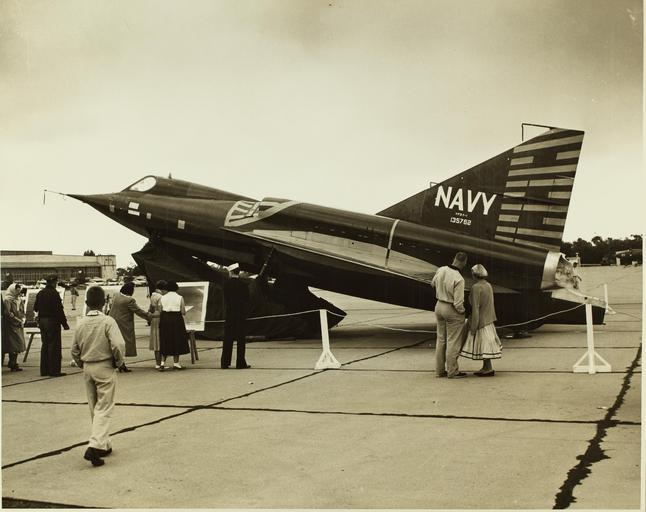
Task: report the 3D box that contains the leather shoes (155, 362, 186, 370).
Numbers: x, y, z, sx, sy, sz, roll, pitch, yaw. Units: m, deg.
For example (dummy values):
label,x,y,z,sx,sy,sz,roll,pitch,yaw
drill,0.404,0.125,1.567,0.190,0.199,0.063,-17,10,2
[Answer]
label,x,y,z,sx,sy,sz,roll,pitch,yaw
leather shoes,-2.758,1.983,12.151,0.532,0.221,0.183,-4,-6,0

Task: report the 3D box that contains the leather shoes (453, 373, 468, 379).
label,x,y,z,sx,sy,sz,roll,pitch,yaw
leather shoes,2.151,1.858,10.633,0.254,0.112,0.087,-3,6,-12

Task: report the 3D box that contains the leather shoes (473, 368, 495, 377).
label,x,y,z,sx,sy,sz,roll,pitch,yaw
leather shoes,2.535,1.797,10.626,0.338,0.151,0.117,5,0,31

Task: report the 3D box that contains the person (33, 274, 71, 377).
label,x,y,z,sx,sy,sz,roll,pitch,yaw
person,-4.926,1.269,12.206,0.540,1.819,0.822,-5,6,-23

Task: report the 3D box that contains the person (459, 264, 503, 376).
label,x,y,z,sx,sy,sz,roll,pitch,yaw
person,2.481,1.011,10.651,0.596,1.713,0.502,-1,6,13

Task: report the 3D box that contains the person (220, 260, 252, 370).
label,x,y,z,sx,sy,sz,roll,pitch,yaw
person,-1.603,1.096,12.014,0.549,1.799,0.536,-3,6,-9

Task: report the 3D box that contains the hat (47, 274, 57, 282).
label,x,y,z,sx,sy,sz,roll,pitch,yaw
hat,-4.963,0.383,12.325,0.110,0.144,0.147,4,38,-8

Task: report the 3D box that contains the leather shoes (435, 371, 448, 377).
label,x,y,z,sx,sy,sz,roll,pitch,yaw
leather shoes,1.874,1.846,10.613,0.208,0.077,0.156,-5,7,-27

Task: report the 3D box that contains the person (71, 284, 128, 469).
label,x,y,z,sx,sy,sz,roll,pitch,yaw
person,-2.575,1.313,7.733,0.565,1.899,0.830,-4,6,-22

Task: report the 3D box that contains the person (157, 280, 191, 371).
label,x,y,z,sx,sy,sz,roll,pitch,yaw
person,-2.732,1.235,12.198,0.514,1.523,0.495,-3,6,-12

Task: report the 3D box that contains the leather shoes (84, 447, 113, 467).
label,x,y,z,sx,sy,sz,roll,pitch,yaw
leather shoes,-2.499,2.210,7.481,0.126,0.159,0.366,2,-4,17
